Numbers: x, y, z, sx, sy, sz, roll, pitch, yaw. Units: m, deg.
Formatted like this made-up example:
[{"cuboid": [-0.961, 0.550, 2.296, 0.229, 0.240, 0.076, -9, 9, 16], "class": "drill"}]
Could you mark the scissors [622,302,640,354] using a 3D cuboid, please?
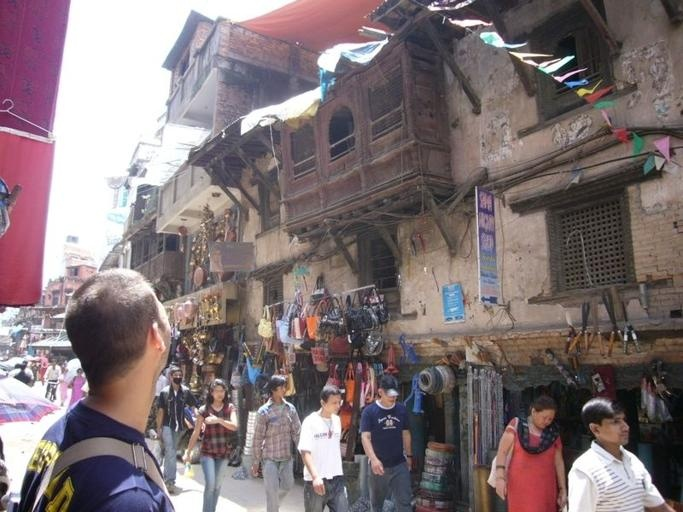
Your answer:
[{"cuboid": [3.903, 0.947, 7.945, 0.065, 0.620, 0.151, -25, 15, -30], "class": "scissors"}]

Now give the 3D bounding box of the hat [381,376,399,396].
[{"cuboid": [0.665, 1.783, 8.225, 0.194, 0.173, 0.308, 13, -2, -15], "class": "hat"}]

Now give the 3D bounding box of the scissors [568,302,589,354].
[{"cuboid": [3.424, 1.019, 8.378, 0.267, 0.905, 0.064, 3, 26, 15], "class": "scissors"}]
